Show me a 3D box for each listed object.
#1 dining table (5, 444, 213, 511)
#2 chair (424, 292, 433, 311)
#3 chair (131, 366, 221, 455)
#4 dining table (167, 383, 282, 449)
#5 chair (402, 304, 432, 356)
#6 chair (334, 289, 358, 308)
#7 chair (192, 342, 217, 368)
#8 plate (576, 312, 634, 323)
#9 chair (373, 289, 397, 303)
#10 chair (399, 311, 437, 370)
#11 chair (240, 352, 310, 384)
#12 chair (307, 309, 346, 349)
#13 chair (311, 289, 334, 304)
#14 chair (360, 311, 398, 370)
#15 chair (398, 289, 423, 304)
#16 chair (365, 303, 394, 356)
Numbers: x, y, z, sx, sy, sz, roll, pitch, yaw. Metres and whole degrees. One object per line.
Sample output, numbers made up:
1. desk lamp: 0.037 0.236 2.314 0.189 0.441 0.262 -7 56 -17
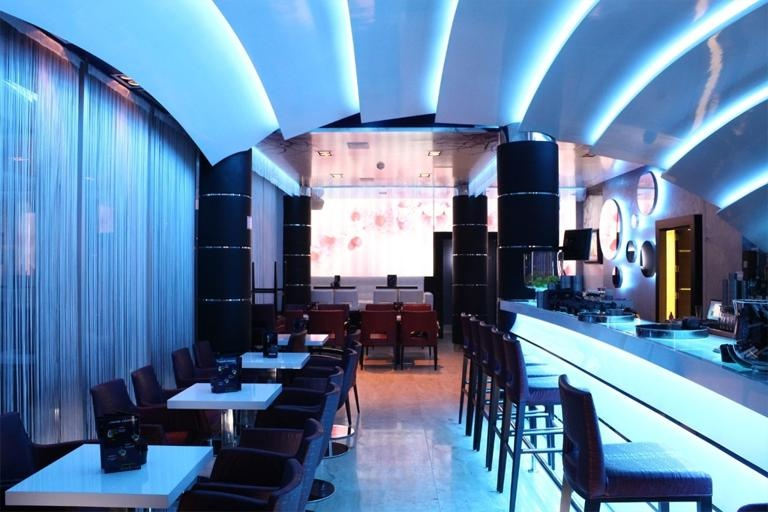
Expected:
1. dining table: -2.099 1.827 4.645 1.385 0.536 0.665 -1 4 -6
2. chair: 1.178 1.146 15.688 0.292 0.533 0.551 2 3 4
3. chair: -2.285 1.595 6.514 0.905 1.149 0.842 0 -4 0
4. dining table: -1.565 1.460 6.152 0.817 0.779 0.821 0 -3 1
5. chair: 0.689 1.443 11.601 0.717 1.030 0.855 1 1 1
6. chair: -0.975 1.098 15.504 0.487 0.367 0.490 -1 -1 8
7. chair: -2.477 1.363 8.194 0.345 0.425 0.301 -10 -11 35
8. plate: 2.282 0.609 6.003 0.655 0.078 0.298 -3 5 -22
9. chair: 0.052 1.005 15.240 0.578 0.292 0.227 -1 5 2
10. chair: 0.677 1.555 11.519 0.925 1.329 1.018 0 0 3
11. chair: -1.318 1.302 7.362 0.489 0.473 0.490 0 -6 -1
12. chair: -1.061 1.476 12.161 0.824 0.925 0.673 1 8 7
13. chair: -1.584 1.041 15.610 0.572 0.326 0.224 -2 5 -9
14. chair: -0.055 1.524 12.136 0.943 1.419 1.000 1 6 3
15. chair: 0.702 1.030 15.273 0.563 0.389 0.314 0 -7 -1
16. chair: -0.045 1.481 12.048 0.820 1.173 0.859 0 4 2
